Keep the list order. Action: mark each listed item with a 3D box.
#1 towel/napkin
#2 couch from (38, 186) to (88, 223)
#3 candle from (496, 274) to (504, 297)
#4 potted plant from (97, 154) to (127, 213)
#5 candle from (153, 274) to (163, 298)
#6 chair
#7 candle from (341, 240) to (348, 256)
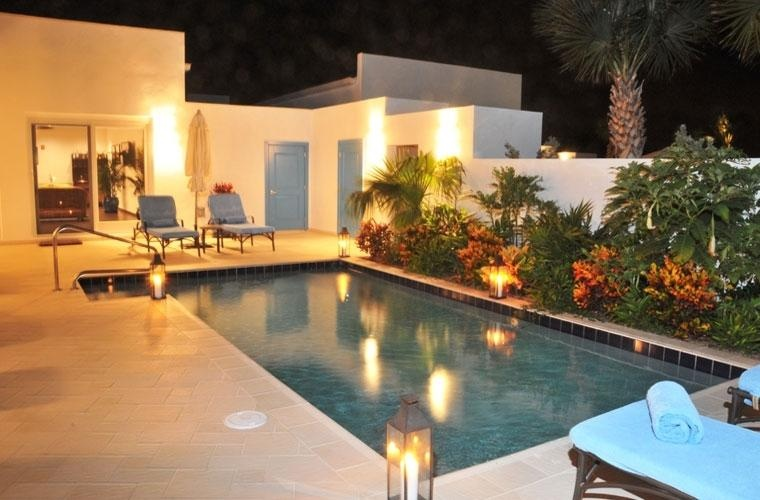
[{"bbox_3d":[2.071,1.146,3.838,0.312,0.242,0.635,-7,10,13],"label":"towel/napkin"},{"bbox_3d":[-8.005,-1.085,12.965,1.144,0.760,0.632,-4,28,-31],"label":"couch"},{"bbox_3d":[1.839,0.552,7.987,0.168,0.407,0.066,-5,9,-22],"label":"candle"},{"bbox_3d":[-6.953,-1.668,13.427,0.612,1.538,0.227,-7,9,-30],"label":"potted plant"},{"bbox_3d":[-3.443,0.570,8.033,0.160,0.385,0.085,-6,9,-26],"label":"candle"},{"bbox_3d":[-4.116,-0.623,11.858,2.645,1.289,2.393,-6,8,-27],"label":"chair"},{"bbox_3d":[-0.776,-0.026,11.010,0.156,0.325,0.084,-2,8,-2],"label":"candle"}]
